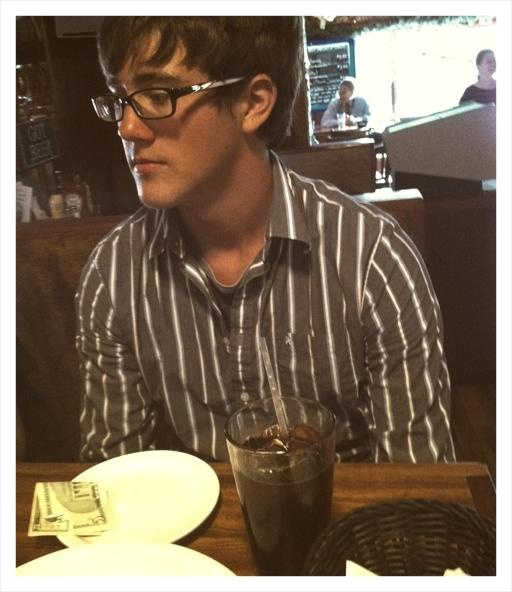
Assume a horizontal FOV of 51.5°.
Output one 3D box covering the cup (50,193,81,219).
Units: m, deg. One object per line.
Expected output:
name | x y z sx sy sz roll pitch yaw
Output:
cup | -0.333 -0.161 0.952 0.049 0.055 0.035 4 22 1

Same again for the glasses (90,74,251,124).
glasses | -0.143 -0.300 0.831 0.248 0.052 0.039 -3 13 10
